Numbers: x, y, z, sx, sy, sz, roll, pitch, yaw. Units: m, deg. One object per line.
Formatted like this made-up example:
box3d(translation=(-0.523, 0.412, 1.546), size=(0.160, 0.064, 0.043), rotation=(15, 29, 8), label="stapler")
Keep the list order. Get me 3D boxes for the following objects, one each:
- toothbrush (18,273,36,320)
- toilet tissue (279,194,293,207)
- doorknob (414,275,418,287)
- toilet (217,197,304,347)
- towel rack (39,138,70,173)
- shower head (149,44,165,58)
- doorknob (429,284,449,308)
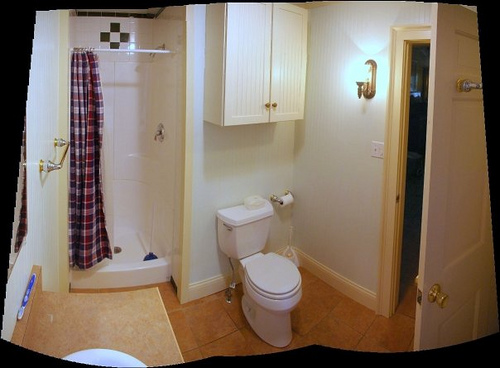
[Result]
box3d(translation=(-0.601, 0.300, 0.986), size=(0.017, 0.124, 0.014), rotation=(7, -18, 3), label="toothbrush")
box3d(translation=(0.234, 0.120, 2.406), size=(0.085, 0.051, 0.034), rotation=(-20, 0, -43), label="toilet tissue")
box3d(translation=(1.075, 0.638, 2.381), size=(0.020, 0.032, 0.106), rotation=(9, 20, 29), label="doorknob")
box3d(translation=(0.067, 0.498, 2.113), size=(0.354, 0.656, 0.634), rotation=(-9, 24, -27), label="toilet")
box3d(translation=(-0.689, -0.104, 1.290), size=(0.060, 0.053, 0.175), rotation=(-16, 43, 5), label="towel rack")
box3d(translation=(-0.651, -0.915, 2.548), size=(0.026, 0.093, 0.095), rotation=(0, 5, -43), label="shower head")
box3d(translation=(0.573, 0.336, 1.106), size=(0.075, 0.056, 0.042), rotation=(-16, 22, -39), label="doorknob")
